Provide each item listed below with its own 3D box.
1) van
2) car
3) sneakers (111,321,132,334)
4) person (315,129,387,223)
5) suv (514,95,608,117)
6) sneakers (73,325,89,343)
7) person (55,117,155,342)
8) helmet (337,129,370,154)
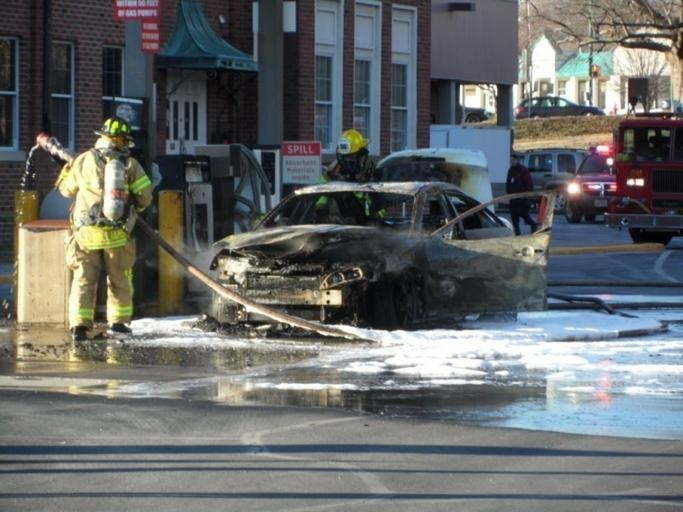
[{"bbox_3d":[5.866,-2.037,42.034,2.743,1.431,1.503,4,6,32],"label":"van"},{"bbox_3d":[0.575,0.087,18.642,2.200,1.078,2.878,-3,-5,39],"label":"car"},{"bbox_3d":[-2.533,0.846,18.253,0.261,0.179,0.098,-8,19,-25],"label":"sneakers"},{"bbox_3d":[0.196,-0.876,21.766,1.057,1.497,0.519,-1,2,28],"label":"person"},{"bbox_3d":[10.091,-6.612,73.543,3.681,1.271,1.527,-2,6,15],"label":"suv"},{"bbox_3d":[-2.941,0.879,17.919,0.178,0.159,0.154,0,-8,-3],"label":"sneakers"},{"bbox_3d":[-2.702,-0.320,18.116,0.996,2.512,0.687,0,4,-10],"label":"person"},{"bbox_3d":[0.168,-1.552,21.708,0.352,0.188,0.446,1,12,15],"label":"helmet"}]
